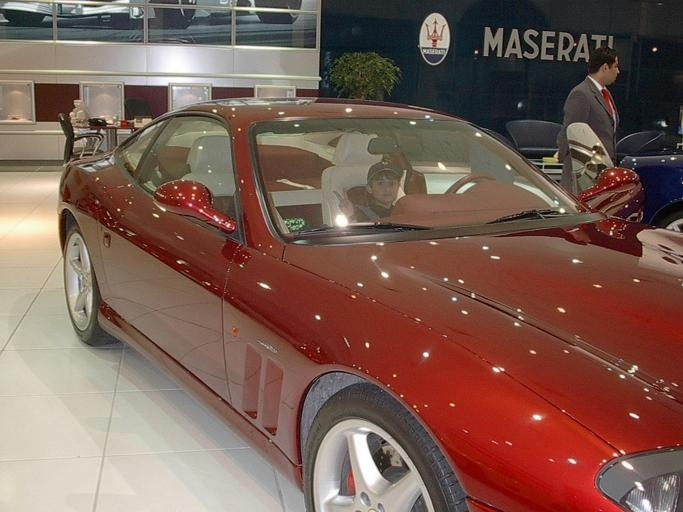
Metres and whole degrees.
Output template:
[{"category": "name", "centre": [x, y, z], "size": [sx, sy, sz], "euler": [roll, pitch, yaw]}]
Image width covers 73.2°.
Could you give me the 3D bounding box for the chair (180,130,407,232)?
[{"category": "chair", "centre": [-0.103, -0.355, 2.220], "size": [0.480, 0.321, 0.771], "euler": [-8, 14, -30]}]
